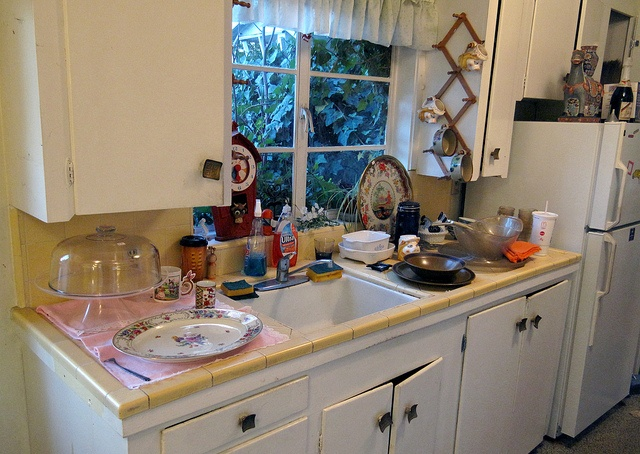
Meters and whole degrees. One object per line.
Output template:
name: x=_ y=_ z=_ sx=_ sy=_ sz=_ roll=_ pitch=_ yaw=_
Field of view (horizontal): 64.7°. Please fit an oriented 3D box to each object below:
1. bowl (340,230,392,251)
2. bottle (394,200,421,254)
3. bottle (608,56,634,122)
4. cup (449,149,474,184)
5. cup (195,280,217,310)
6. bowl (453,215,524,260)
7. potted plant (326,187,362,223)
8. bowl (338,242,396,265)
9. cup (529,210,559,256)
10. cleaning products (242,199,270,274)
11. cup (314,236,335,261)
bowl: x=0.229 y=0.072 z=2.588 sx=0.120 sy=0.053 sz=0.166 roll=4 pitch=8 yaw=37
bottle: x=0.459 y=-0.011 z=2.787 sx=0.138 sy=0.242 sz=0.282 roll=5 pitch=15 yaw=31
bottle: x=1.800 y=-0.815 z=2.996 sx=0.127 sy=0.361 sz=0.229 roll=3 pitch=14 yaw=24
cup: x=0.798 y=-0.348 z=2.856 sx=0.123 sy=0.175 sz=0.069 roll=0 pitch=13 yaw=12
cup: x=-0.430 y=0.254 z=1.947 sx=0.106 sy=0.105 sz=0.062 roll=-1 pitch=7 yaw=-6
bowl: x=0.904 y=0.046 z=2.657 sx=0.363 sy=0.191 sz=0.223 roll=-6 pitch=11 yaw=-31
potted plant: x=0.140 y=-0.133 z=2.889 sx=0.204 sy=0.188 sz=0.199 roll=9 pitch=14 yaw=36
bowl: x=0.222 y=0.139 z=2.571 sx=0.151 sy=0.042 sz=0.161 roll=-1 pitch=11 yaw=0
cup: x=1.207 y=0.035 z=2.787 sx=0.167 sy=0.223 sz=0.135 roll=-11 pitch=15 yaw=-32
cleaning products: x=-0.305 y=0.089 z=2.323 sx=0.106 sy=0.274 sz=0.092 roll=-5 pitch=13 yaw=-8
cup: x=0.019 y=0.110 z=2.631 sx=0.104 sy=0.112 sz=0.100 roll=2 pitch=11 yaw=0
